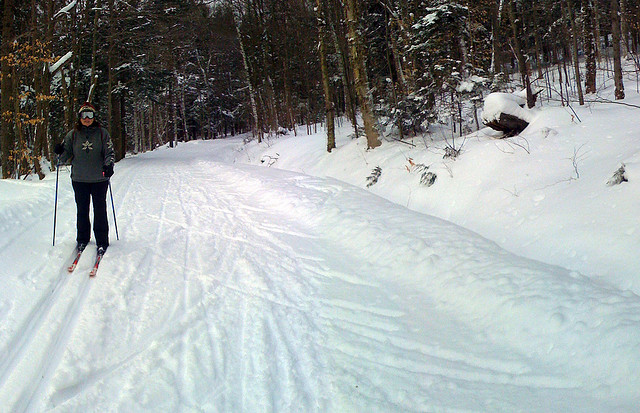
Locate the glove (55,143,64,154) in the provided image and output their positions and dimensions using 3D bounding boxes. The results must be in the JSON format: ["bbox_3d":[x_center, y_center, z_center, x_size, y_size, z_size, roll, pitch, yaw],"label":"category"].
[{"bbox_3d":[-5.032,-1.100,9.091,0.121,0.196,0.261,-2,13,-5],"label":"glove"}]

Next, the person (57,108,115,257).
[{"bbox_3d":[-4.539,-0.555,9.312,0.905,2.674,0.758,-4,12,-16],"label":"person"}]

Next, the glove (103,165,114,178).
[{"bbox_3d":[-4.174,-0.705,9.305,0.199,0.250,0.145,4,15,1],"label":"glove"}]

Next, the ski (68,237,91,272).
[{"bbox_3d":[-4.572,0.931,9.002,0.144,0.115,0.820,15,27,-23],"label":"ski"}]

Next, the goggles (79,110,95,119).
[{"bbox_3d":[-4.627,-1.833,9.427,0.264,0.172,0.141,-9,15,-31],"label":"goggles"}]
